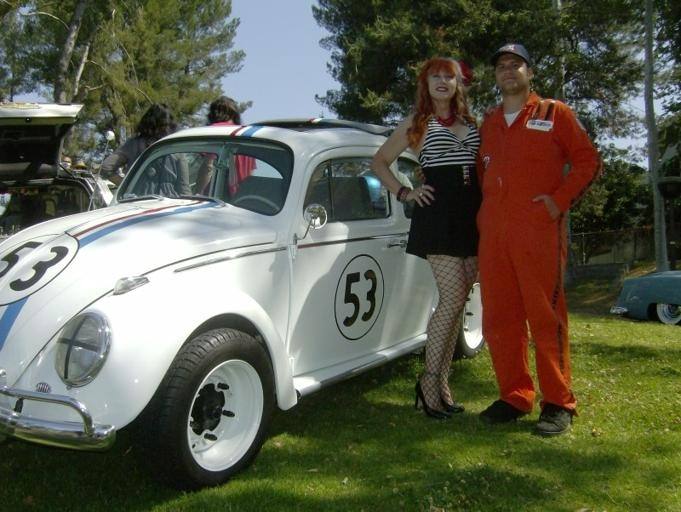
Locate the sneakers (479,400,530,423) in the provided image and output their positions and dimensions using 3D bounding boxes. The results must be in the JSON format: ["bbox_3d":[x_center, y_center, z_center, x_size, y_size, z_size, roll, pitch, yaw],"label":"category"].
[{"bbox_3d":[1.314,1.220,4.327,0.358,0.204,0.161,5,-3,-13],"label":"sneakers"}]

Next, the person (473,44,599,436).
[{"bbox_3d":[1.463,-0.149,4.100,0.801,2.912,0.461,1,5,22],"label":"person"}]

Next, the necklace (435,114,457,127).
[{"bbox_3d":[0.843,-1.065,4.264,0.095,0.026,0.112,2,39,-1],"label":"necklace"}]

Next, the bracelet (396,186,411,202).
[{"bbox_3d":[0.506,-0.509,4.286,0.105,0.120,0.114,2,-15,14],"label":"bracelet"}]

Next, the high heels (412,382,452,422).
[{"bbox_3d":[0.722,1.193,4.461,0.401,0.233,0.139,18,0,36],"label":"high heels"}]

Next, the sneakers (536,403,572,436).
[{"bbox_3d":[1.635,1.221,4.097,0.221,0.177,0.406,2,7,36],"label":"sneakers"}]
